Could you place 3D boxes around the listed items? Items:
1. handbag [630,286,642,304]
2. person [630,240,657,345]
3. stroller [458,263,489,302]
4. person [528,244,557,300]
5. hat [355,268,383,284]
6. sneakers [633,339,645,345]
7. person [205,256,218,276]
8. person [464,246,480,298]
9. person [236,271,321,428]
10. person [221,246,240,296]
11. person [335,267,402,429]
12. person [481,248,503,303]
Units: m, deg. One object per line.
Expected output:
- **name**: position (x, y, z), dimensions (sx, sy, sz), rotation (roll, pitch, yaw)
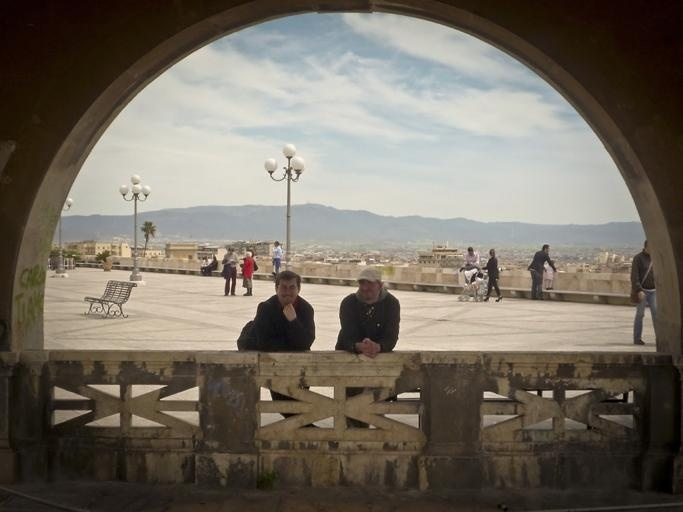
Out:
- **handbag**: position (4.653, 0.632, 11.898), dimensions (0.161, 0.262, 0.394), rotation (-1, 1, 21)
- **person**: position (4.822, 0.634, 12.057), dimensions (0.341, 1.739, 1.228), rotation (-1, 0, 21)
- **stroller**: position (3.823, 0.799, 21.977), dimensions (0.585, 0.796, 1.252), rotation (-1, -2, 19)
- **person**: position (5.755, 0.455, 21.563), dimensions (0.734, 1.646, 0.610), rotation (5, 1, 2)
- **hat**: position (0.300, 0.200, 7.995), dimensions (0.239, 0.150, 0.322), rotation (-1, 1, 3)
- **sneakers**: position (4.892, 1.412, 12.415), dimensions (0.173, 0.142, 0.063), rotation (-3, 3, -5)
- **person**: position (-6.159, 0.475, 35.796), dimensions (0.469, 0.810, 1.884), rotation (-1, 1, -10)
- **person**: position (3.726, 0.406, 21.569), dimensions (0.545, 1.354, 2.285), rotation (-1, 1, 9)
- **person**: position (-0.619, 0.910, 8.180), dimensions (0.731, 1.613, 0.808), rotation (-10, 19, -40)
- **person**: position (-3.431, 0.446, 23.023), dimensions (0.463, 1.273, 1.697), rotation (-1, 0, -9)
- **person**: position (0.273, 0.976, 7.878), dimensions (0.672, 1.595, 0.832), rotation (-1, 0, 3)
- **person**: position (4.245, 0.535, 21.252), dimensions (0.467, 1.479, 1.910), rotation (-1, 0, 11)
